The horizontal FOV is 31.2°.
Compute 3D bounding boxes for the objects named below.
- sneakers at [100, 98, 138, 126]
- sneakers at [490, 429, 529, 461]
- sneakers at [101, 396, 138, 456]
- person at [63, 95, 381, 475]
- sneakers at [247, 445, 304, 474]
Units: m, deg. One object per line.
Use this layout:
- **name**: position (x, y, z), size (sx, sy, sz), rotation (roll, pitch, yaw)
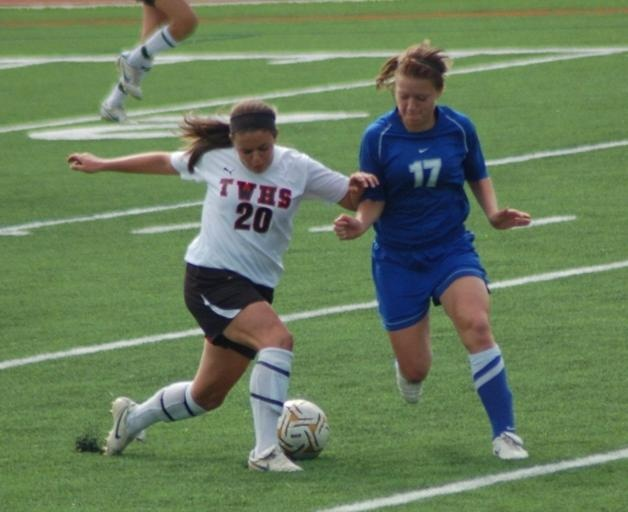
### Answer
- **sneakers**: position (-2.434, -1.774, 14.148), size (0.193, 0.228, 0.591), rotation (31, 9, 35)
- **sneakers**: position (1.370, 1.305, 7.822), size (0.246, 0.182, 0.169), rotation (-1, 18, 2)
- **sneakers**: position (-1.402, 1.239, 8.096), size (0.184, 0.463, 0.221), rotation (21, -3, -19)
- **person**: position (-0.662, 0.240, 7.899), size (1.438, 2.319, 1.053), rotation (4, 20, 16)
- **sneakers**: position (-0.272, 1.398, 7.745), size (0.421, 0.150, 0.141), rotation (0, -2, 3)
